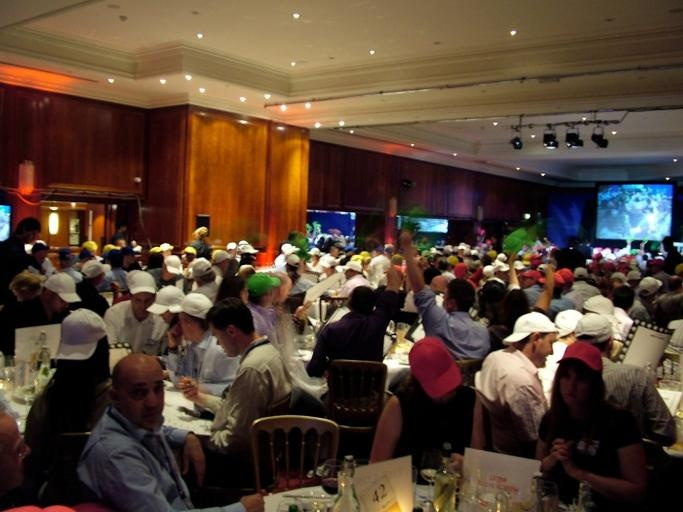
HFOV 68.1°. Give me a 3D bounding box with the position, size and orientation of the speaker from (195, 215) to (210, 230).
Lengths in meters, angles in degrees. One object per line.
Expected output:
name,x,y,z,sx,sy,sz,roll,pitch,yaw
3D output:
speaker,-3.454,-0.838,12.488,0.316,0.603,0.317,-2,13,-29

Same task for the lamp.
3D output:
lamp,6.449,-3.356,14.048,2.153,0.702,1.323,4,7,29
